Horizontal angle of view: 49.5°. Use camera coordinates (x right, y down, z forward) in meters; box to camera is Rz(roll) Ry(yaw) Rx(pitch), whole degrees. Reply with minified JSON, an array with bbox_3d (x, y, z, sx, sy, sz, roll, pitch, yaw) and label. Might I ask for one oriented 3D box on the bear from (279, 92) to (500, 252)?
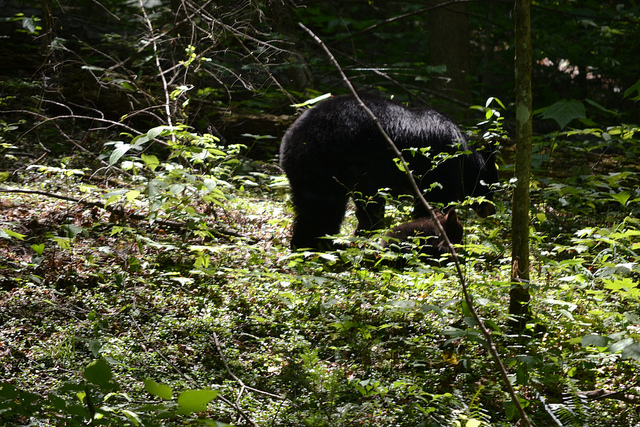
[{"bbox_3d":[0.761,-0.477,7.951,2.360,1.738,1.274,1,12,-9],"label":"bear"}]
